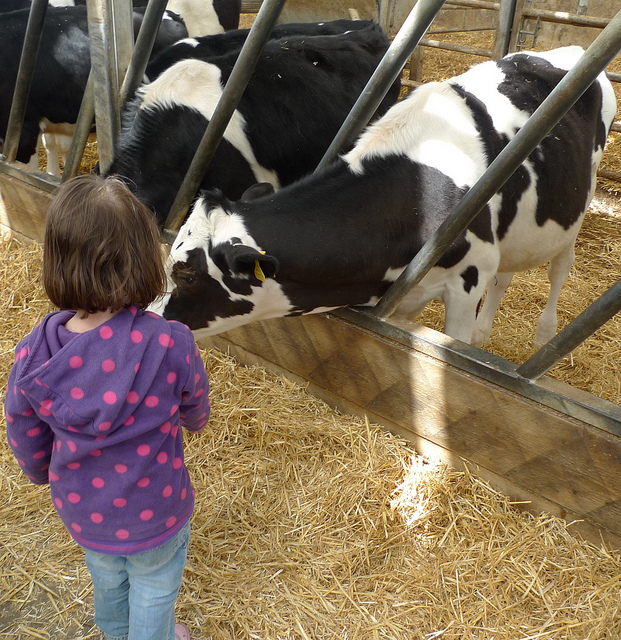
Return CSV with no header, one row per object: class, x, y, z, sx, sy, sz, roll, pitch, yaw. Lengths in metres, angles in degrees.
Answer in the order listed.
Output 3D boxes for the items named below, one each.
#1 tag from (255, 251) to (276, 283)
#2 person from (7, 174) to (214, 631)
tag,-0.146,-0.178,2.306,0.066,0.085,0.057,-5,-5,8
person,-0.473,0.277,1.701,0.561,1.209,0.379,17,27,0
